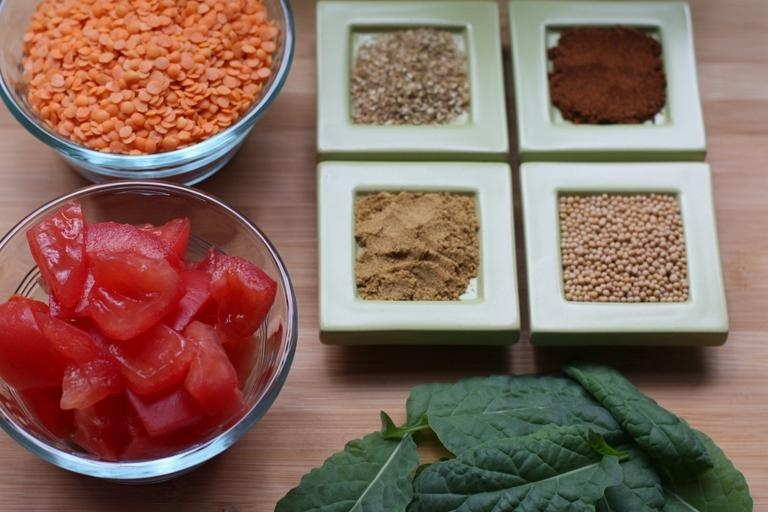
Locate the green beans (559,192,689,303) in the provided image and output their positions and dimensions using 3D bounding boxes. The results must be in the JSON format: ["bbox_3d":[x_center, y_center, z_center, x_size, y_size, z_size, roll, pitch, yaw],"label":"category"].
[{"bbox_3d":[0.502,-0.026,1.370,0.251,0.061,0.240,-1,79,-2],"label":"green beans"}]
